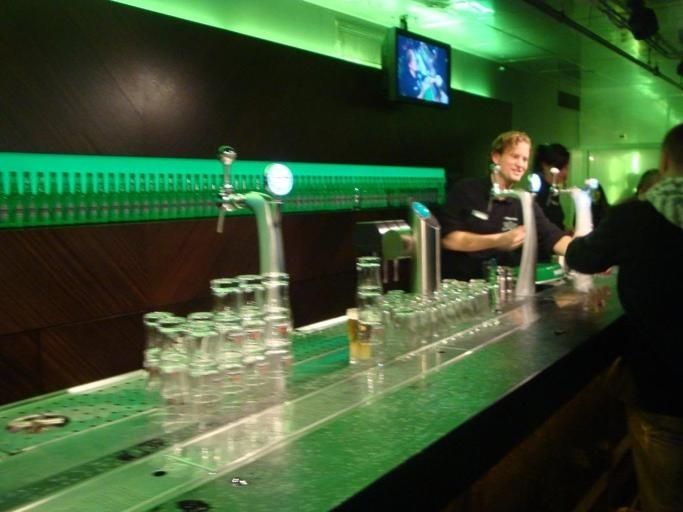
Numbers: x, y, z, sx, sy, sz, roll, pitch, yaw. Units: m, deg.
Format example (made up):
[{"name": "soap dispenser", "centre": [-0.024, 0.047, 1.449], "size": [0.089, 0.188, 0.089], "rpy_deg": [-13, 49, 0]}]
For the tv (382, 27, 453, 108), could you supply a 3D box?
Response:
[{"name": "tv", "centre": [0.666, -1.678, 4.834], "size": [0.208, 0.539, 0.958], "rpy_deg": [7, 8, 39]}]
